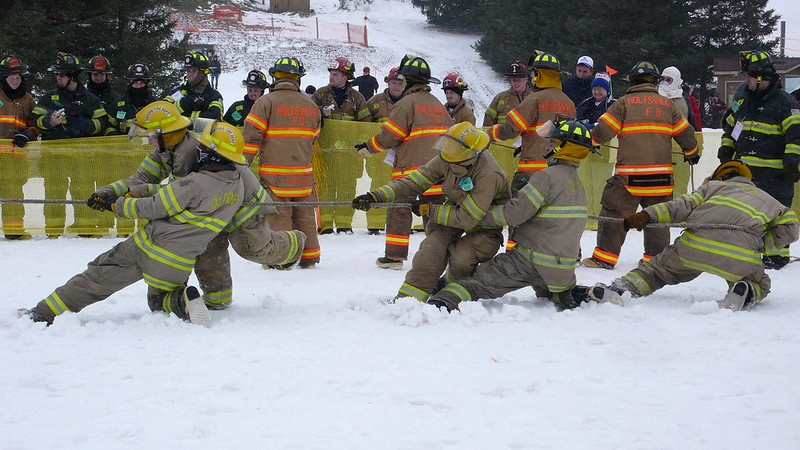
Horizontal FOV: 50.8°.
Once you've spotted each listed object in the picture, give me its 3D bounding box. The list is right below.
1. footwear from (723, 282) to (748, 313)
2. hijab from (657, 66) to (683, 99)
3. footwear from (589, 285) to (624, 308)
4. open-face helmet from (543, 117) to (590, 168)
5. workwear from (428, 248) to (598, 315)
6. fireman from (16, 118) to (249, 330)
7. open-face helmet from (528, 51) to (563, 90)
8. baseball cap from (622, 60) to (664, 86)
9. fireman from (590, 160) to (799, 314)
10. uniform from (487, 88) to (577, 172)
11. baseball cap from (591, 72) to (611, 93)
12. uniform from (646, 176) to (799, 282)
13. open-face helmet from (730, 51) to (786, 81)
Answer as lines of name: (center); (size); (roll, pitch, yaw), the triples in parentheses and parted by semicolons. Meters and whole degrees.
footwear: (4.366, 0.928, 10.894); (0.372, 0.389, 0.177); (4, 4, 6)
hijab: (4.682, -2.437, 14.596); (0.536, 0.560, 0.436); (14, 23, 36)
footwear: (2.665, 0.921, 10.882); (0.387, 0.181, 0.264); (17, 5, 1)
open-face helmet: (2.181, -1.065, 10.851); (0.680, 0.567, 0.537); (5, 8, 14)
workwear: (1.437, 0.788, 10.952); (1.622, 0.491, 0.926); (-13, -2, 2)
fireman: (-3.013, -0.060, 10.446); (2.063, 2.478, 0.478); (4, 4, -2)
open-face helmet: (2.185, -2.338, 12.744); (0.643, 0.573, 0.515); (3, 10, -4)
baseball cap: (3.680, -2.281, 12.651); (0.377, 0.382, 0.474); (4, 7, 16)
fireman: (4.292, 0.346, 11.209); (1.686, 0.699, 2.467); (11, 33, 33)
uniform: (1.977, -1.430, 12.419); (1.665, 1.061, 0.850); (-4, 24, -23)
baseball cap: (3.391, -2.364, 13.925); (0.405, 0.308, 0.284); (6, 0, -6)
uniform: (4.318, 0.025, 11.009); (1.434, 0.554, 1.568); (15, 44, 30)
open-face helmet: (5.401, -2.436, 12.744); (0.640, 0.384, 0.465); (16, 24, 28)
